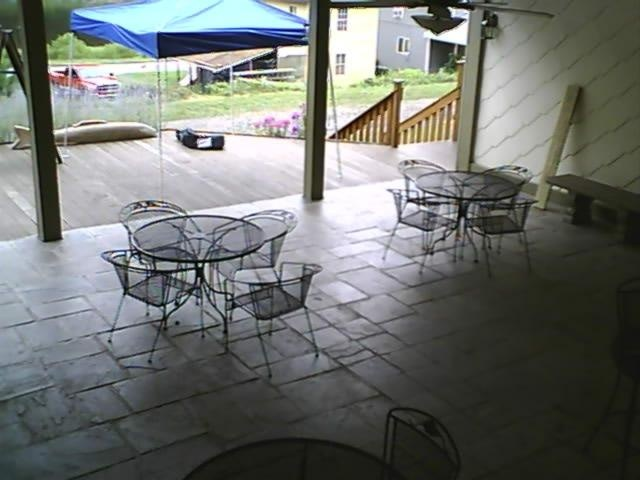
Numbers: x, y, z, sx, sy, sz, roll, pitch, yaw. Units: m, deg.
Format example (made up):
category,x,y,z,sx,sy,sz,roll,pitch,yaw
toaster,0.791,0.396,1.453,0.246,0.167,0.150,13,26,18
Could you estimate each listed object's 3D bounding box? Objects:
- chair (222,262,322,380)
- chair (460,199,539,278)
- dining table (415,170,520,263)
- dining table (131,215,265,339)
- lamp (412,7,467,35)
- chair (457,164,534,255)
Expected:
category,x,y,z,sx,sy,sz,roll,pitch,yaw
chair,-0.431,0.757,4.736,0.678,0.749,0.624,-18,45,-31
chair,2.180,-0.238,6.416,0.818,0.866,1.540,9,24,14
dining table,1.688,-0.243,6.290,1.093,0.685,1.104,26,-24,-36
dining table,-1.133,0.406,5.242,1.346,0.831,1.161,7,30,1
lamp,0.963,-1.852,4.531,0.407,0.212,0.491,12,24,22
chair,2.076,-0.305,6.463,0.966,0.987,0.846,-10,22,6
